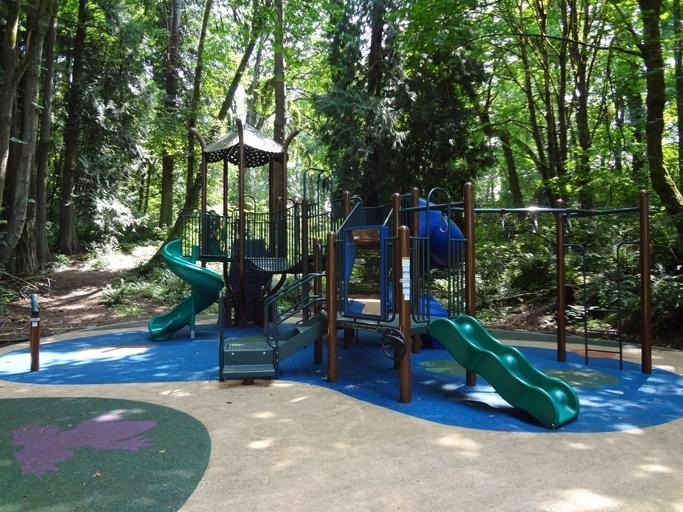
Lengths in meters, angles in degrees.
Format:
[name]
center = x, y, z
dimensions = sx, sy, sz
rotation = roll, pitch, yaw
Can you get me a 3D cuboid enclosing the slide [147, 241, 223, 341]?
[slide]
center = -3.822, 0.768, 13.912
dimensions = 1.570, 2.118, 1.699
rotation = -8, 12, -44
